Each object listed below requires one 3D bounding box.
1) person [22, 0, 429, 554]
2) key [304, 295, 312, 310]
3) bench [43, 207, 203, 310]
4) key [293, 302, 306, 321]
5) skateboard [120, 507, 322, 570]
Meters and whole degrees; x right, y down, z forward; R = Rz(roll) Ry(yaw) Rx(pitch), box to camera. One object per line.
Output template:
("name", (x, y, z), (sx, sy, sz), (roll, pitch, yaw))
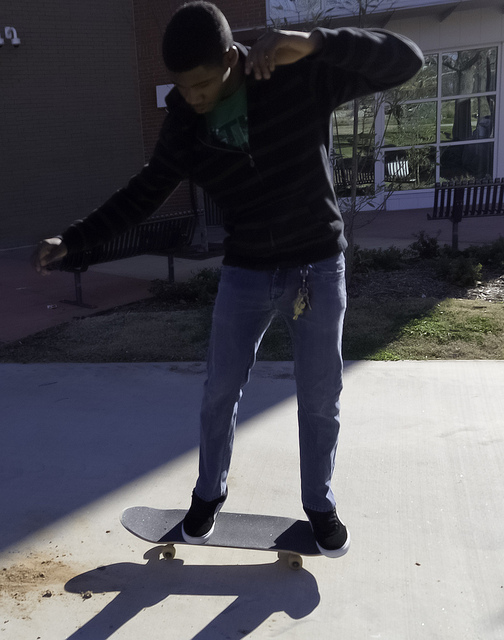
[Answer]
("person", (-0.070, -0.075, 2.040), (1.021, 1.742, 0.576), (8, 16, 31))
("key", (0.175, -0.055, 1.910), (0.021, 0.048, 0.006), (-5, 15, -16))
("bench", (-1.487, -0.784, 7.214), (0.769, 0.941, 2.295), (6, 14, 22))
("key", (0.152, -0.032, 1.920), (0.018, 0.079, 0.011), (38, 21, 21))
("skateboard", (-0.095, 0.772, 2.190), (0.895, 0.136, 0.244), (3, 11, 8))
